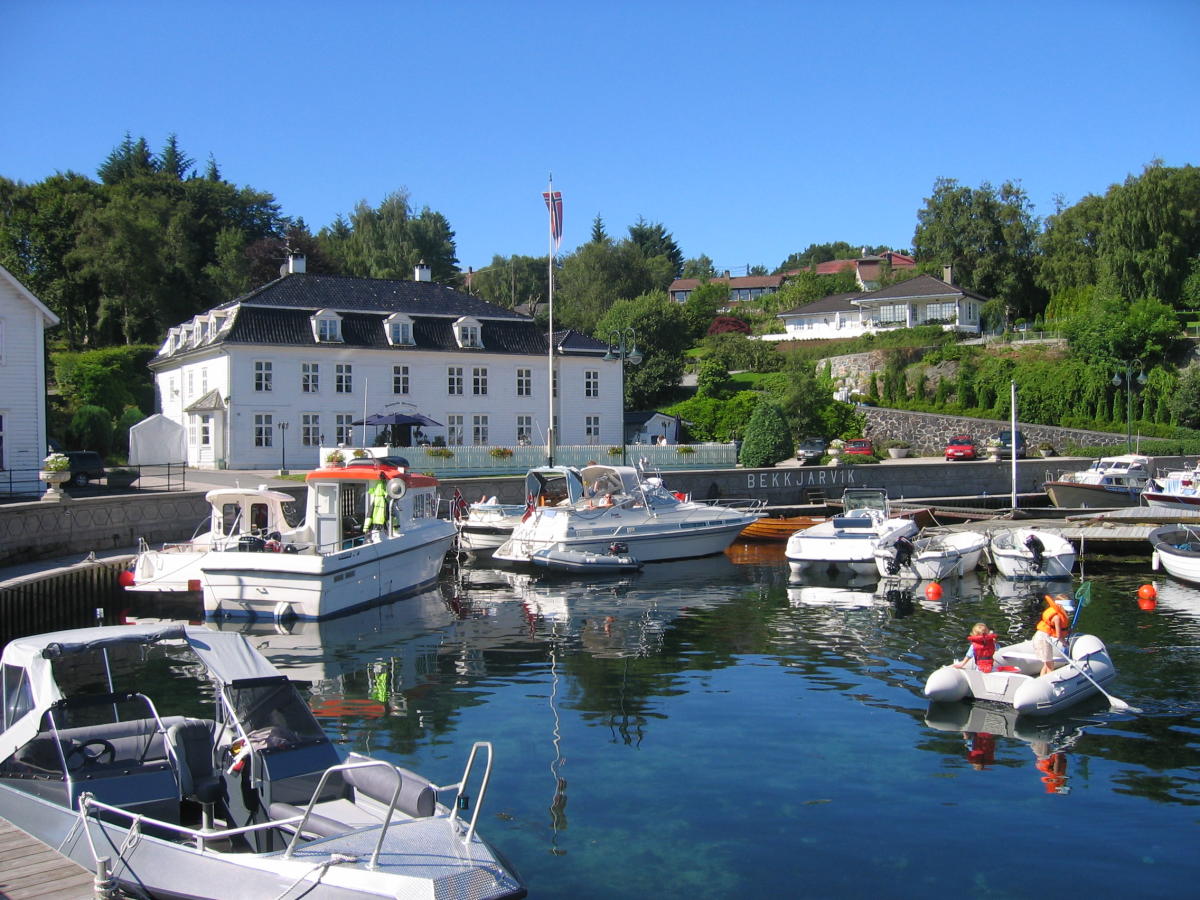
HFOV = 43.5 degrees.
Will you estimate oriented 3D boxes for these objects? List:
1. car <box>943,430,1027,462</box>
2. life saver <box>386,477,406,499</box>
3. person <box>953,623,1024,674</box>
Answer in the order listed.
[{"bbox_3d":[17.729,0.024,69.820,2.926,1.007,2.001,1,3,4],"label":"car"},{"bbox_3d":[-5.595,1.126,41.671,0.467,0.483,0.468,25,5,-8],"label":"life saver"},{"bbox_3d":[8.538,4.400,33.659,0.875,1.064,1.157,1,9,31],"label":"person"}]
